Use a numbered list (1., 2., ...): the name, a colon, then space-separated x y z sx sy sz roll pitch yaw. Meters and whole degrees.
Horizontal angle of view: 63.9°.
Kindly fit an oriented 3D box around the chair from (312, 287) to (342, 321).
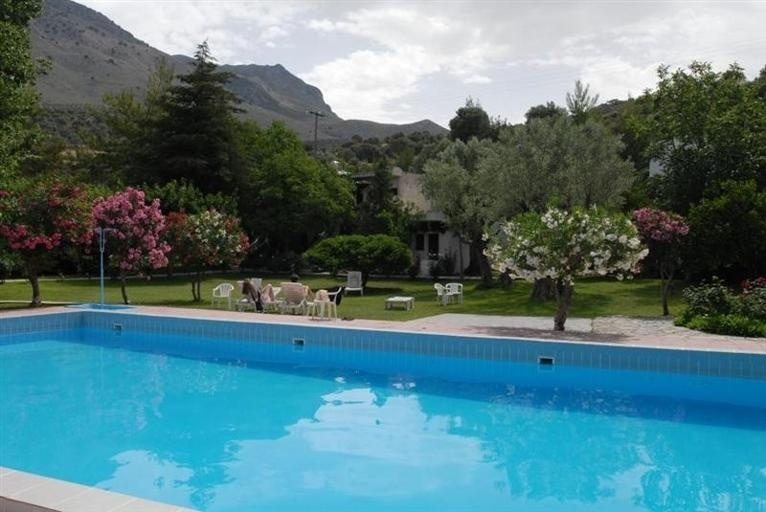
1. chair: -2.139 1.830 23.314 1.007 1.451 1.099 4 -3 -38

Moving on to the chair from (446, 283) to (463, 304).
1. chair: 3.323 1.730 28.344 0.897 1.087 0.811 0 -4 -2

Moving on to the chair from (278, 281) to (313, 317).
1. chair: -3.388 1.642 24.034 0.914 1.029 1.541 1 3 5

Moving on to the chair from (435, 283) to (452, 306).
1. chair: 2.801 1.718 27.357 0.778 1.087 0.825 2 -6 -32

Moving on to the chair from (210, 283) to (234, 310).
1. chair: -7.069 1.843 27.147 0.900 1.141 0.766 0 1 5

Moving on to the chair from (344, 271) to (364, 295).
1. chair: -1.448 1.373 31.639 0.821 1.077 1.207 1 -1 0

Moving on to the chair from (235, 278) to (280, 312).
1. chair: -4.877 1.551 24.938 1.132 1.183 1.742 3 4 22
